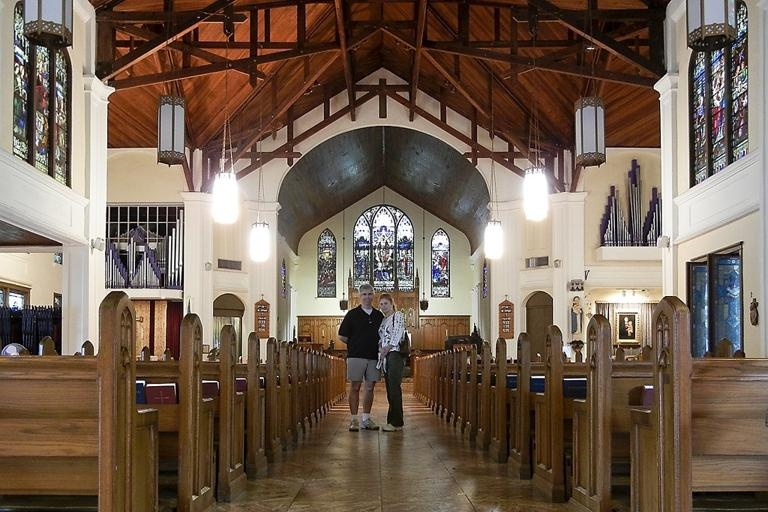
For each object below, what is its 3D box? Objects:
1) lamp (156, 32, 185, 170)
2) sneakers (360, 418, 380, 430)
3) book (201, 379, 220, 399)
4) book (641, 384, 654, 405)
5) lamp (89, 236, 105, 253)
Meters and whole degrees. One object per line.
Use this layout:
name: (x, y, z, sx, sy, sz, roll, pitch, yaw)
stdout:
lamp: (-3.407, -2.092, 11.950, 0.399, 1.201, 0.418, 3, -8, -21)
sneakers: (-0.169, 2.376, 10.431, 0.322, 0.170, 0.117, 3, -4, -11)
book: (-1.530, 1.188, 6.590, 0.148, 0.174, 0.156, -1, -6, 5)
book: (2.047, 1.096, 5.819, 0.076, 0.155, 0.315, -2, -9, 17)
lamp: (-4.840, -0.205, 12.581, 0.191, 0.244, 0.122, 0, -5, 0)
